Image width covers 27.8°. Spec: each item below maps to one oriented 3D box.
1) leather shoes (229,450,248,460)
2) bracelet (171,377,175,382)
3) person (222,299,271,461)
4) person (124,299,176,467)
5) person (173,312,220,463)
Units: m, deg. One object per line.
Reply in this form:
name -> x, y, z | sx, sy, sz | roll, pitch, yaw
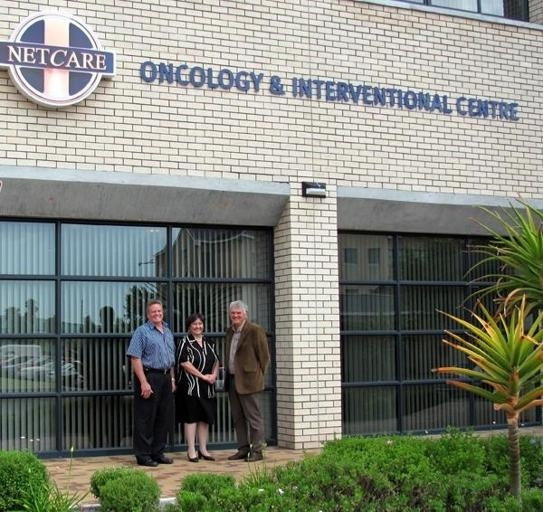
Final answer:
leather shoes -> -0.436, 2.570, 14.256 | 0.257, 0.125, 0.181 | -2, -9, -3
bracelet -> -1.272, 1.580, 14.147 | 0.043, 0.052, 0.056 | 3, -14, -5
person -> -0.316, 1.609, 14.306 | 0.569, 2.061, 1.203 | -1, -9, -3
person -> -1.521, 1.593, 13.886 | 0.593, 2.071, 0.392 | 0, -9, -10
person -> -0.967, 1.691, 14.273 | 0.552, 1.908, 0.317 | -1, -8, -5
